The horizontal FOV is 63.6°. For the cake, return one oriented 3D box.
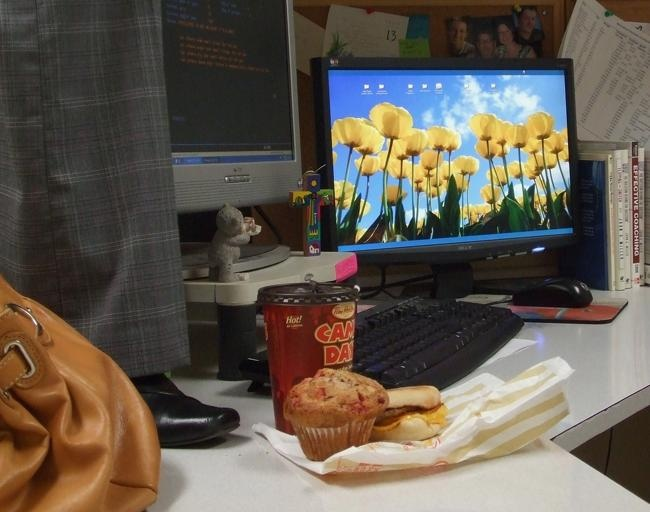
[{"bbox_3d":[0.004,0.122,0.420,0.070,0.062,0.076,-3,-2,5],"label":"cake"}]

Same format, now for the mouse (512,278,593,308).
[{"bbox_3d":[0.405,0.053,0.917,0.102,0.037,0.059,2,7,28],"label":"mouse"}]

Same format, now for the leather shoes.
[{"bbox_3d":[-0.156,0.149,0.529,0.136,0.057,0.051,1,6,22],"label":"leather shoes"}]
